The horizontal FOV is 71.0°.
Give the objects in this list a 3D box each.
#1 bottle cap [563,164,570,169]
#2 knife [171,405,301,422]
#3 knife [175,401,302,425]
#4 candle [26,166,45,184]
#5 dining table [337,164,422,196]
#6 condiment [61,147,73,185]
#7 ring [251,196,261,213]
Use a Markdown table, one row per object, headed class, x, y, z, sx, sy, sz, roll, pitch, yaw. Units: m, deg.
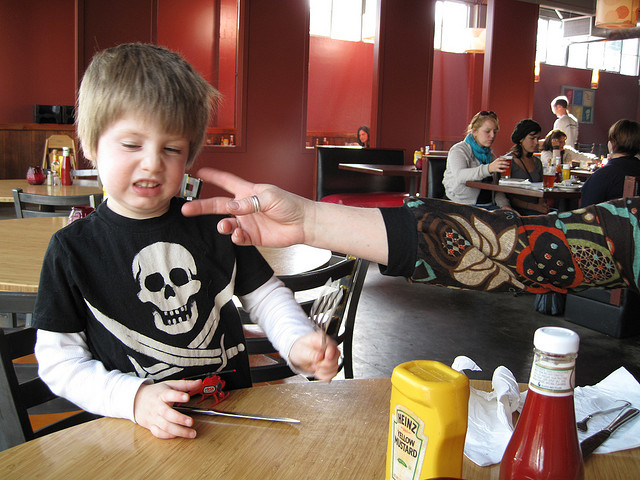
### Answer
| class | x | y | z | sx | sy | sz | roll | pitch | yaw |
| --- | --- | --- | --- | --- | --- | --- | --- | --- | --- |
| bottle cap | 3.092 | -0.915 | 5.639 | 0.102 | 0.060 | 0.098 | -2 | 6 | -1 |
| knife | -0.168 | 0.340 | 0.880 | 0.220 | 0.021 | 0.010 | 5 | 35 | 12 |
| knife | -0.163 | 0.341 | 0.883 | 0.291 | 0.035 | 0.014 | 5 | 46 | 13 |
| candle | -2.397 | -0.548 | 3.841 | 0.151 | 0.133 | 0.144 | 1 | 2 | -14 |
| dining table | 0.850 | -0.873 | 5.703 | 0.646 | 0.576 | 0.648 | 11 | 17 | 37 |
| condiment | -2.135 | -0.617 | 3.798 | 0.106 | 0.299 | 0.097 | 15 | 19 | 41 |
| ring | -0.144 | -0.081 | 1.059 | 0.031 | 0.030 | 0.031 | -9 | -22 | -4 |
